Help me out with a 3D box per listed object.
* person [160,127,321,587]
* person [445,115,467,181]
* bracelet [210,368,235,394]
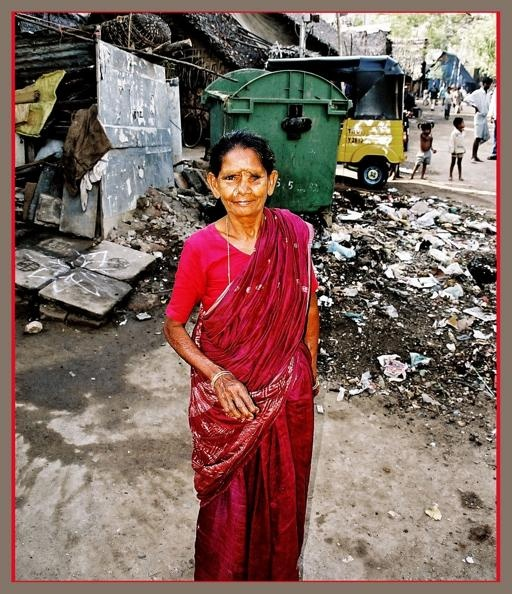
[{"bbox_3d":[-0.014,0.239,1.394,0.536,1.453,0.393,0,13,-12],"label":"person"},{"bbox_3d":[4.329,-3.101,9.512,0.350,1.237,1.340,9,14,23],"label":"person"},{"bbox_3d":[-0.095,0.231,1.245,0.054,0.044,0.035,-6,16,-35],"label":"bracelet"}]
